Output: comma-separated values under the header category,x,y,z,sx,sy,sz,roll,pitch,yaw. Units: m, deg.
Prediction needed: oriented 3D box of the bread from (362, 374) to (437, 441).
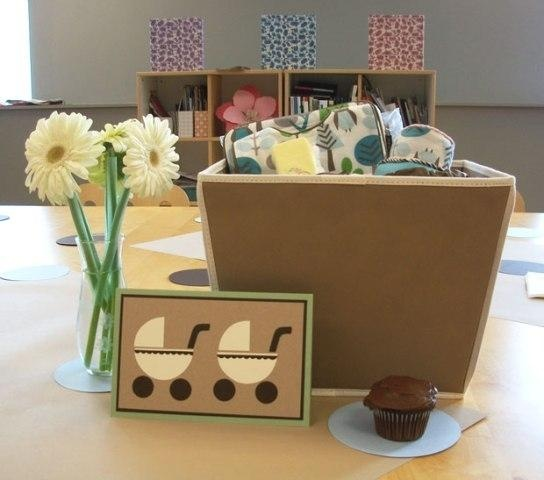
category,x,y,z,sx,sy,sz,roll,pitch,yaw
bread,0.134,0.185,0.518,0.073,0.057,0.043,2,12,9

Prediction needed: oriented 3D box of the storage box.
category,x,y,z,sx,sy,sz,roll,pitch,yaw
storage box,0.100,0.035,0.675,0.288,0.265,0.256,1,9,4

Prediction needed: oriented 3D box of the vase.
category,x,y,z,sx,sy,sz,roll,pitch,yaw
vase,-0.241,0.095,0.658,0.098,0.173,0.107,4,6,-5

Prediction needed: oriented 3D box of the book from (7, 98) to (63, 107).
category,x,y,z,sx,sy,sz,roll,pitch,yaw
book,-2.312,-1.325,4.677,0.633,0.072,0.266,0,13,-1

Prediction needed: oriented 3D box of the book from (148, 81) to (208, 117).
category,x,y,z,sx,sy,sz,roll,pitch,yaw
book,-0.666,-1.049,3.685,0.605,0.301,0.216,3,11,22

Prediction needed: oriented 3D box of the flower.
category,x,y,z,sx,sy,sz,roll,pitch,yaw
flower,-0.185,-0.002,0.588,0.190,0.346,0.145,-4,-7,-40
